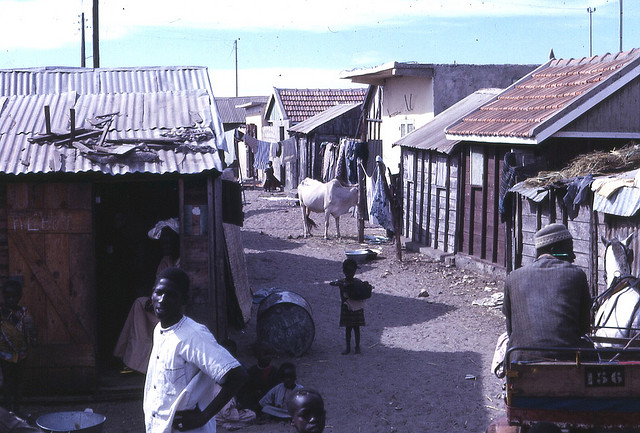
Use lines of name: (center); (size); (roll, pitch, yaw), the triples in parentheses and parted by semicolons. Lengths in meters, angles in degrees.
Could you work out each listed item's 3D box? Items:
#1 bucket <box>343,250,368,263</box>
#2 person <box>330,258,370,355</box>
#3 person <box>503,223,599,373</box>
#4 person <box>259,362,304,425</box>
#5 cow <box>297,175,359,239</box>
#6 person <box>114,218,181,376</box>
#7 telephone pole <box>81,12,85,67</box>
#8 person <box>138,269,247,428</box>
bucket: (0.794, 0.878, 22.039); (0.490, 0.213, 0.579); (-1, 6, 3)
person: (0.479, 1.394, 15.746); (0.594, 1.479, 0.466); (-1, 7, 2)
person: (2.741, 1.023, 11.881); (1.114, 1.806, 0.859); (0, 7, 10)
person: (-0.550, 2.394, 13.369); (0.774, 0.671, 0.450); (2, -5, 11)
cow: (0.278, -0.210, 25.335); (2.270, 1.491, 0.746); (3, 3, 44)
person: (-2.396, 1.081, 14.493); (0.674, 1.995, 0.776); (11, -6, -15)
telephone pole: (-7.353, -5.383, 30.784); (0.083, 1.343, 0.630); (-3, 7, -15)
person: (-1.440, 1.455, 10.924); (1.051, 1.737, 0.487); (-2, 7, -2)
